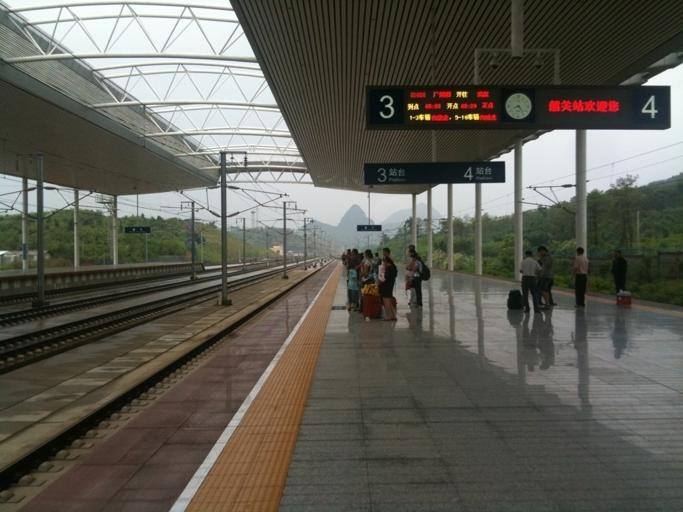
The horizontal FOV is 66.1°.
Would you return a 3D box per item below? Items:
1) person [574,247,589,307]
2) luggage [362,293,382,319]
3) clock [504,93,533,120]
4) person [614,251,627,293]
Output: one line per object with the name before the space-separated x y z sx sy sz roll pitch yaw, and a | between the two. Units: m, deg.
person | 7.357 0.604 16.201 0.359 1.780 1.242 -1 3 24
luggage | 0.866 1.351 14.208 0.606 0.964 0.683 -2 5 0
clock | 3.561 -3.042 10.534 0.567 0.549 0.075 2 1 17
person | 8.825 0.472 16.691 0.322 1.378 1.764 -1 3 27
